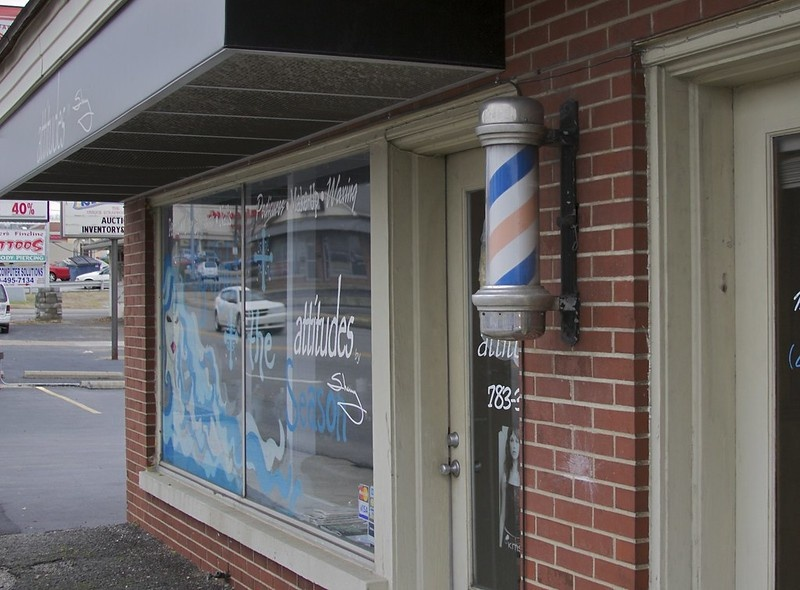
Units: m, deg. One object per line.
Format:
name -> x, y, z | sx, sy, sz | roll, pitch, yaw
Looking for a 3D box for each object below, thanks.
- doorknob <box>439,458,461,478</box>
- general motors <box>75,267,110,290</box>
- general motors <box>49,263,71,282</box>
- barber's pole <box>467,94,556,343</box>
doorknob -> 0.298, 1.025, 4.939 | 0.101, 0.120, 0.102 | 5, -9, -34
general motors -> -20.971, -1.093, 56.346 | 2.055, 1.250, 1.305 | 3, -1, -11
general motors -> -23.091, -1.457, 56.241 | 1.742, 0.904, 1.109 | 4, -3, -30
barber's pole -> 0.494, -0.334, 3.607 | 0.341, 1.044, 0.141 | 1, 1, 10
